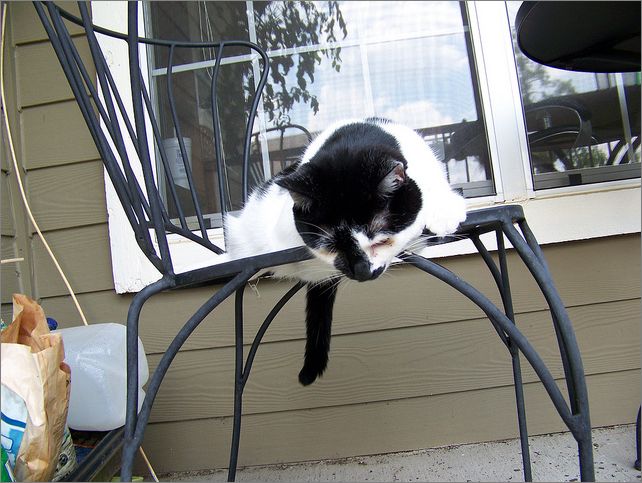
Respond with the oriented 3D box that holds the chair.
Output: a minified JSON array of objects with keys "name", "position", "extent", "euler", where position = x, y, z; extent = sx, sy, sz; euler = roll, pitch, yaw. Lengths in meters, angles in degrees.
[{"name":"chair","position":[0.016,0.063,2.104],"extent":[0.910,1.404,1.316],"euler":[-7,26,0]}]
